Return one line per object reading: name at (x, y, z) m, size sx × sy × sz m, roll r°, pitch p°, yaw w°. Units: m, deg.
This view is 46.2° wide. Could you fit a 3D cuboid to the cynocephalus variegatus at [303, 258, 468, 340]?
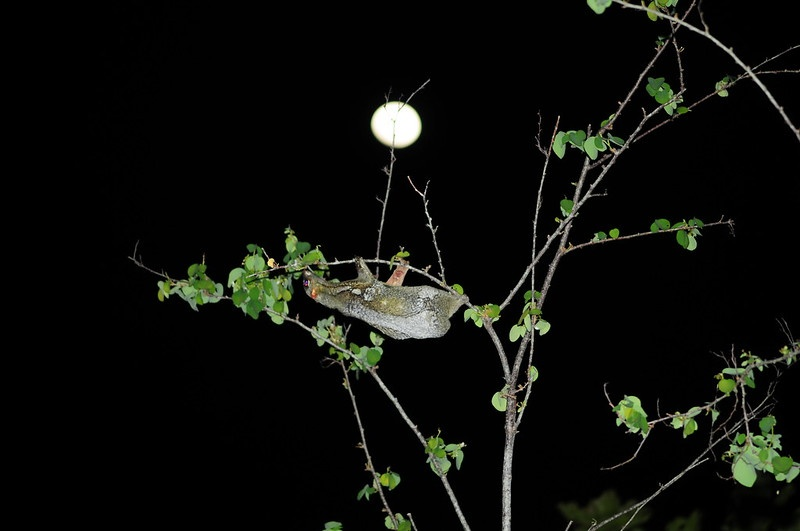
cynocephalus variegatus at (-0.092, 0.197, 5.204) m, size 0.907 × 0.397 × 0.326 m, roll 5°, pitch -34°, yaw -9°
